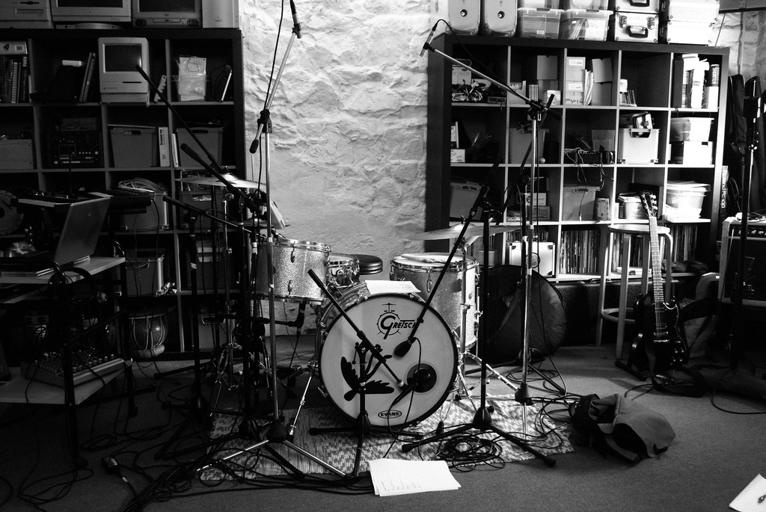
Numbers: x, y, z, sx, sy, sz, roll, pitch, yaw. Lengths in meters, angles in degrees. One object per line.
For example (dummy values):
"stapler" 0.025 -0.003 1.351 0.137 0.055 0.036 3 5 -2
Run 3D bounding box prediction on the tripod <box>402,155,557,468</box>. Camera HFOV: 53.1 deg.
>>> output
"tripod" 0.819 0.363 5.391 0.964 2.028 1.130 5 5 29

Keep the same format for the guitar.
"guitar" 2.290 0.244 6.372 0.434 1.408 0.683 3 4 10

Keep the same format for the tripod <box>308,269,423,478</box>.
"tripod" -0.237 0.755 5.115 0.662 1.376 0.772 3 4 13

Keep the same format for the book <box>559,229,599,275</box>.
"book" 1.789 -0.081 7.199 0.368 0.498 0.496 0 6 0

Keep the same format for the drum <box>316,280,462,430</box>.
"drum" 0.041 0.687 5.325 0.913 0.929 0.550 -11 3 -10

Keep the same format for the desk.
"desk" -2.271 0.680 5.556 0.925 1.349 1.061 1 4 -18

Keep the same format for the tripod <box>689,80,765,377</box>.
"tripod" 2.946 -0.278 6.343 0.265 2.389 0.980 4 4 24

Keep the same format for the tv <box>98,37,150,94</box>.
"tv" -2.154 -1.585 6.350 0.381 0.537 0.304 -3 -4 -11

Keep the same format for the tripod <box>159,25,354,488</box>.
"tripod" -0.858 -0.171 5.462 1.185 3.155 1.713 1 4 -15

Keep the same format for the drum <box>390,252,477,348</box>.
"drum" 0.379 0.237 5.902 0.678 0.643 0.690 3 12 9

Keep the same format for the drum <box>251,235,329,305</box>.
"drum" -0.725 0.094 5.731 0.487 0.372 0.496 2 -1 0

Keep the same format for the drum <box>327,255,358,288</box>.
"drum" -0.318 0.118 5.880 0.231 0.218 0.247 0 0 -3

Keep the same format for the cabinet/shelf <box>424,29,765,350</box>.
"cabinet/shelf" 1.750 -0.550 6.559 2.692 2.585 0.827 0 12 -3
